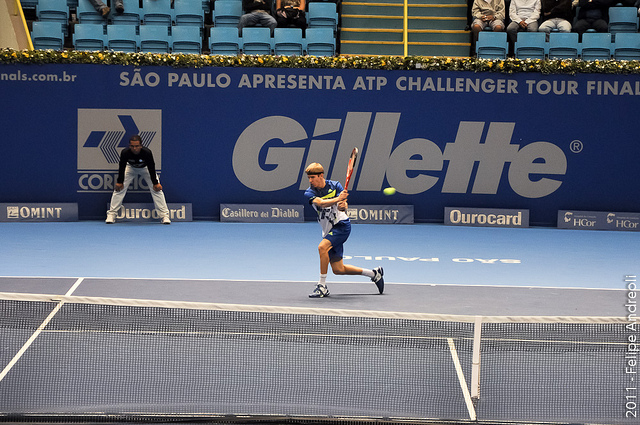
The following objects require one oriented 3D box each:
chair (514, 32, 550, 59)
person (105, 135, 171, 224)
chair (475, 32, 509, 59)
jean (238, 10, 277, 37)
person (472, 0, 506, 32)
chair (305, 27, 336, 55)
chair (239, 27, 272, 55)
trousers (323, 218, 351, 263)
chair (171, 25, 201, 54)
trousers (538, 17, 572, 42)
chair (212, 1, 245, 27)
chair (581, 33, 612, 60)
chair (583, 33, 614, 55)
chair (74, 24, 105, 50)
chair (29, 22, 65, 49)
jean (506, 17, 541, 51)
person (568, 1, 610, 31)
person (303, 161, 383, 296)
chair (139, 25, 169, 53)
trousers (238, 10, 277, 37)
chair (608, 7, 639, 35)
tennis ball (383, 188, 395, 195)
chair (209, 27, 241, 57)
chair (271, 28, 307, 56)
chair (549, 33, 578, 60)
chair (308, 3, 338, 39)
[{"bbox_3d":[5.638,-4.471,20.169,0.817,0.768,0.592,5,29,15],"label":"chair"},{"bbox_3d":[-4.347,-0.781,18.228,1.495,2.214,0.800,-2,14,-12],"label":"person"},{"bbox_3d":[4.588,-4.417,20.258,0.952,0.902,0.714,2,-2,3],"label":"chair"},{"bbox_3d":[-1.704,-5.166,20.878,1.070,0.931,0.531,0,-6,-14],"label":"jean"},{"bbox_3d":[4.682,-5.406,20.834,0.894,0.864,0.870,2,14,3],"label":"person"},{"bbox_3d":[0.099,-4.804,20.628,0.875,0.982,0.826,-3,52,-4],"label":"chair"},{"bbox_3d":[-1.680,-4.760,20.516,0.945,0.853,0.708,0,41,-2],"label":"chair"},{"bbox_3d":[0.319,0.458,12.365,0.440,0.730,0.214,-9,18,-37],"label":"trousers"},{"bbox_3d":[-3.542,-4.694,20.490,0.671,0.859,0.813,1,9,-3],"label":"chair"},{"bbox_3d":[6.478,-5.115,20.680,0.686,0.219,0.756,0,35,15],"label":"trousers"},{"bbox_3d":[-2.592,-5.684,21.722,0.954,0.870,0.751,1,8,-1],"label":"chair"},{"bbox_3d":[7.431,-4.542,20.571,0.768,0.976,0.839,3,8,10],"label":"chair"},{"bbox_3d":[7.499,-4.551,20.463,0.590,0.724,0.619,1,7,7],"label":"chair"},{"bbox_3d":[-6.187,-4.825,20.449,0.846,0.884,0.693,-6,44,-21],"label":"chair"},{"bbox_3d":[-7.264,-4.729,20.568,0.934,0.990,0.846,0,5,-5],"label":"chair"},{"bbox_3d":[5.461,-4.852,20.782,0.747,0.767,1.135,-2,34,3],"label":"jean"},{"bbox_3d":[7.488,-5.409,20.846,0.886,0.796,0.596,4,14,9],"label":"person"},{"bbox_3d":[0.340,0.292,12.432,1.248,2.180,0.889,3,14,6],"label":"person"},{"bbox_3d":[-4.528,-4.766,20.684,0.780,0.761,0.816,0,8,-5],"label":"chair"},{"bbox_3d":[-1.718,-5.182,20.914,1.066,0.942,0.543,-2,22,-11],"label":"trousers"},{"bbox_3d":[8.477,-5.357,21.093,0.827,0.712,0.470,6,15,17],"label":"chair"},{"bbox_3d":[1.253,-0.380,13.079,0.196,0.102,0.192,-1,4,0],"label":"tennis ball"},{"bbox_3d":[-2.509,-4.635,20.402,0.825,0.692,0.393,0,14,-6],"label":"chair"},{"bbox_3d":[-0.812,-4.744,20.685,0.976,0.875,0.724,1,38,1],"label":"chair"},{"bbox_3d":[6.564,-4.479,20.332,0.905,0.802,0.625,4,23,15],"label":"chair"},{"bbox_3d":[0.131,-5.369,21.485,1.048,1.343,1.027,-1,4,-1],"label":"chair"}]
